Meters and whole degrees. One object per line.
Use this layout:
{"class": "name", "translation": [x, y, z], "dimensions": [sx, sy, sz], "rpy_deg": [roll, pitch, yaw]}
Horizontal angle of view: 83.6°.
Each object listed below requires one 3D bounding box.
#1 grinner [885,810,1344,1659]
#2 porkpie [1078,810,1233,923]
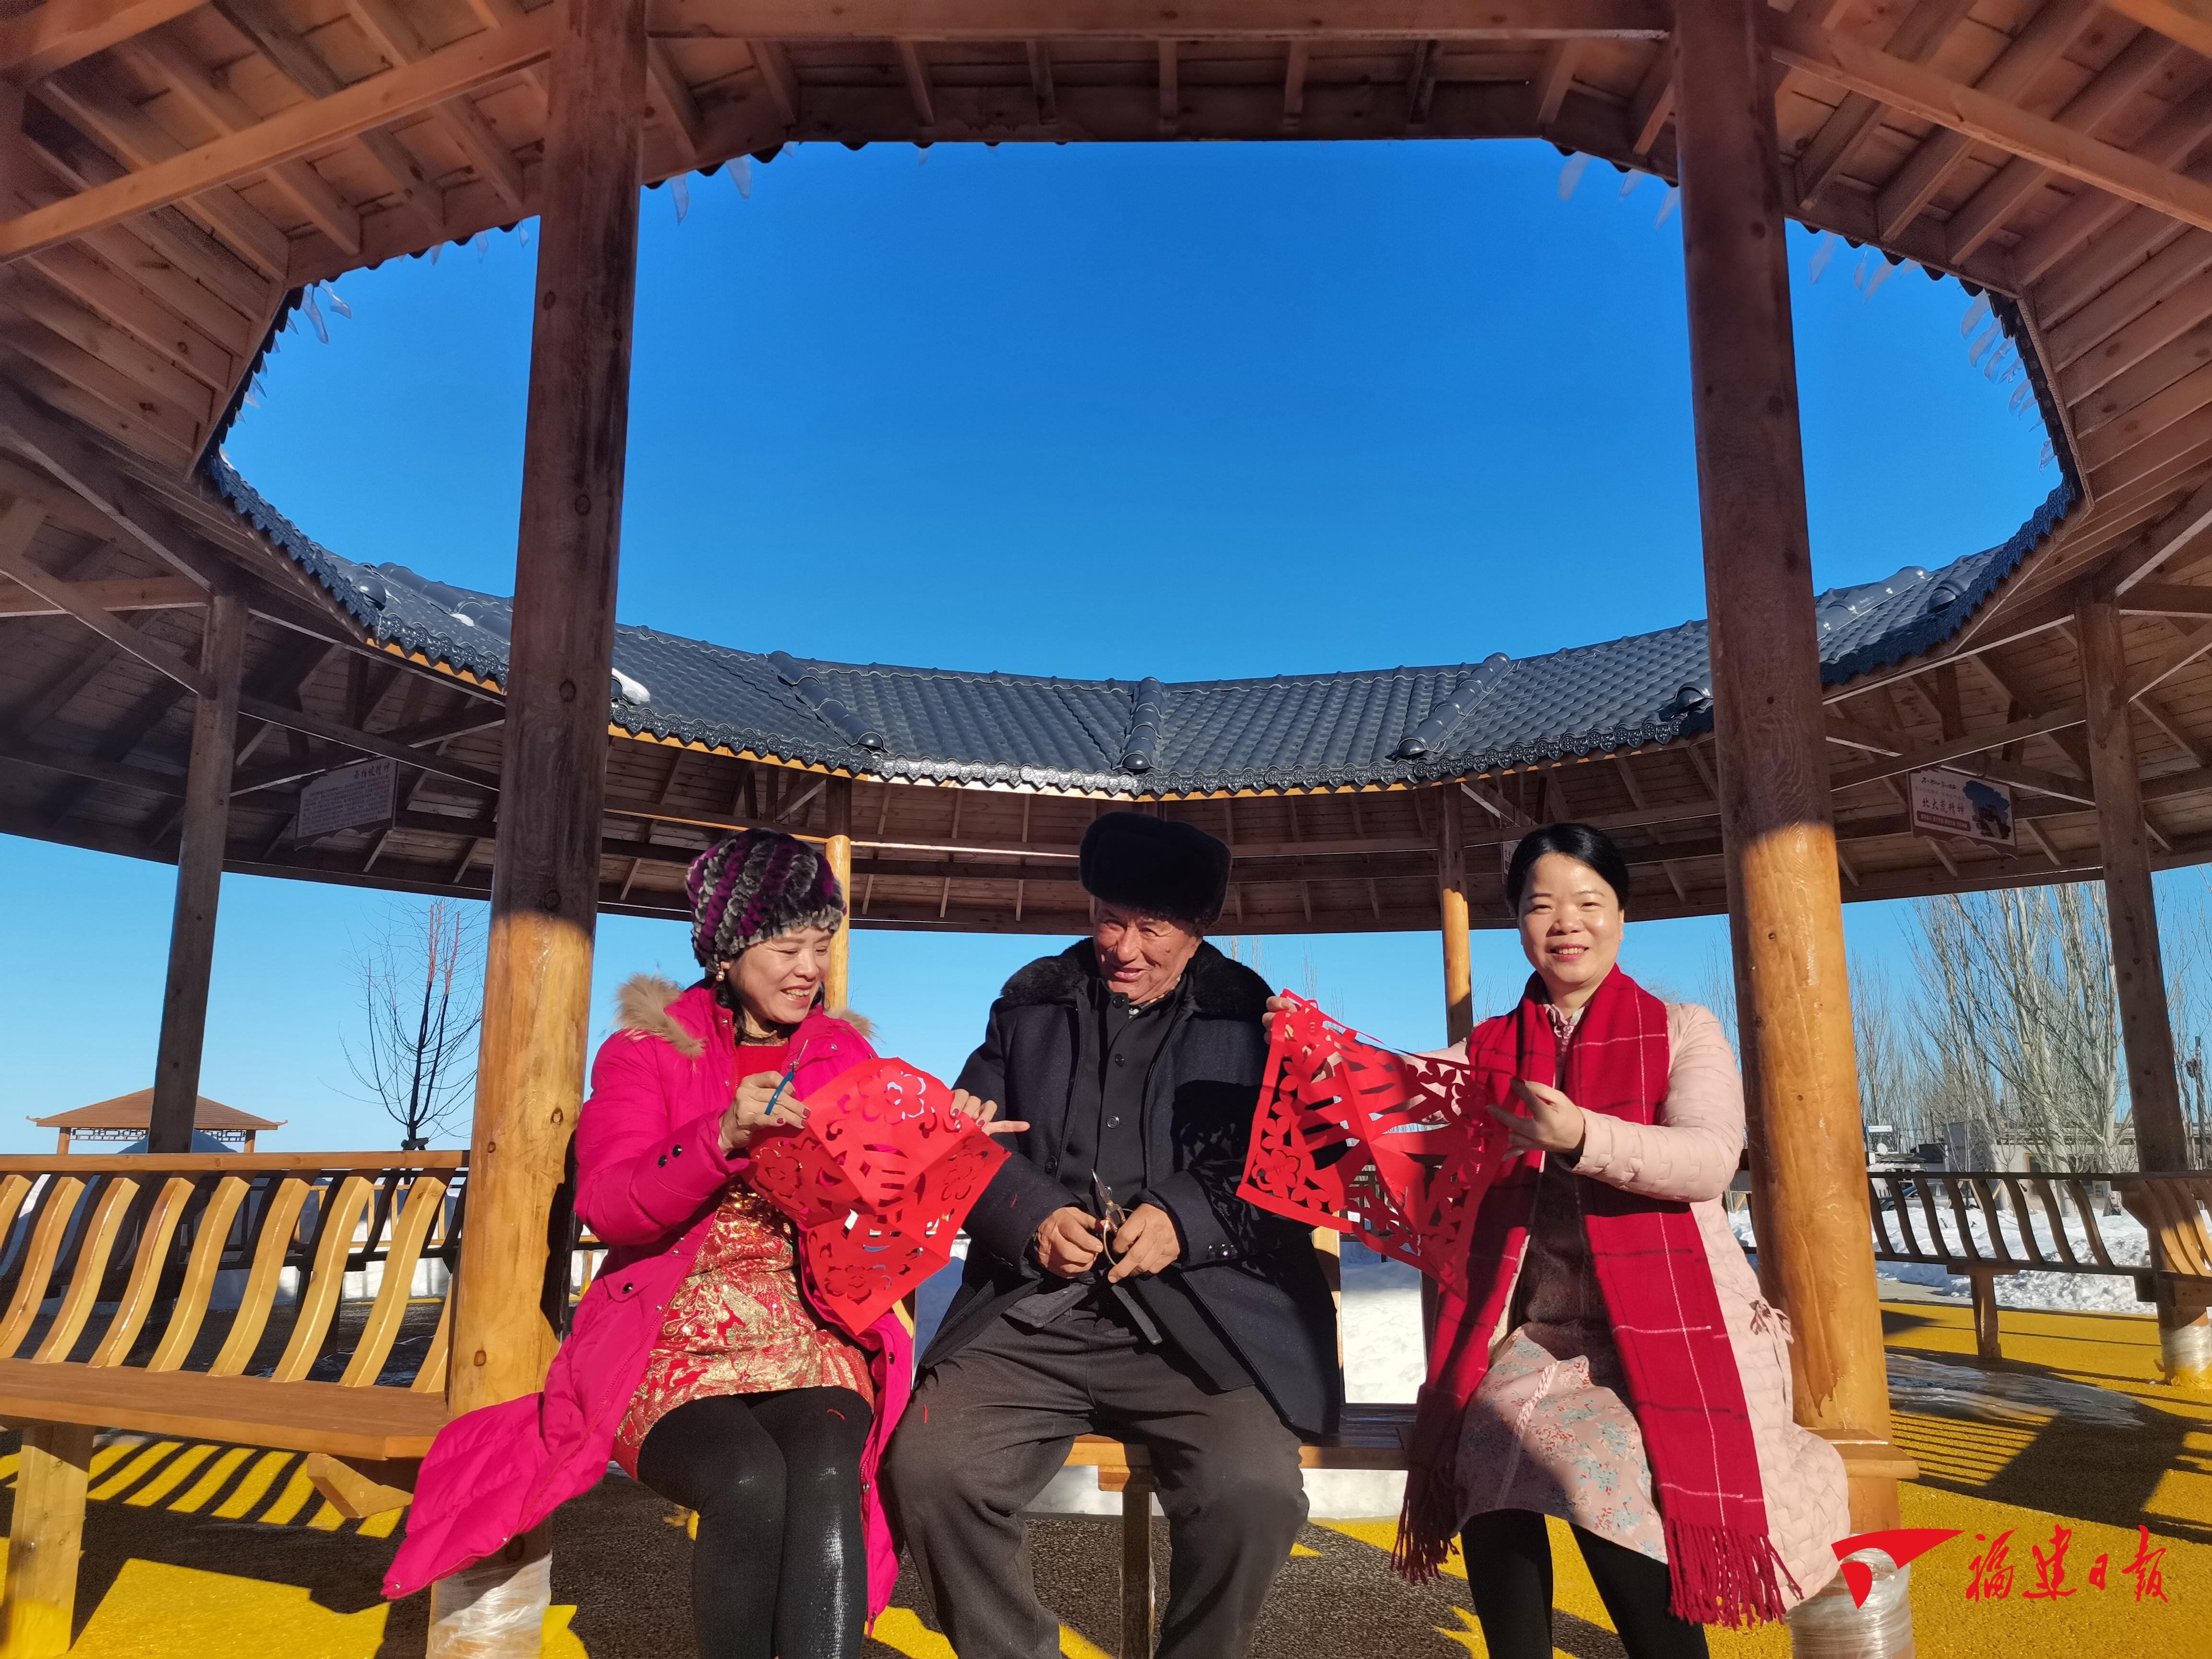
{"class": "grinner", "translation": [0.140, 1.162, 3.736], "dimensions": [1.544, 2.892, 0.833], "rpy_deg": [0, -7, 7]}
{"class": "porkpie", "translation": [0.131, 0.112, 3.449], "dimensions": [0.302, 0.144, 0.380], "rpy_deg": [24, -4, 22]}
